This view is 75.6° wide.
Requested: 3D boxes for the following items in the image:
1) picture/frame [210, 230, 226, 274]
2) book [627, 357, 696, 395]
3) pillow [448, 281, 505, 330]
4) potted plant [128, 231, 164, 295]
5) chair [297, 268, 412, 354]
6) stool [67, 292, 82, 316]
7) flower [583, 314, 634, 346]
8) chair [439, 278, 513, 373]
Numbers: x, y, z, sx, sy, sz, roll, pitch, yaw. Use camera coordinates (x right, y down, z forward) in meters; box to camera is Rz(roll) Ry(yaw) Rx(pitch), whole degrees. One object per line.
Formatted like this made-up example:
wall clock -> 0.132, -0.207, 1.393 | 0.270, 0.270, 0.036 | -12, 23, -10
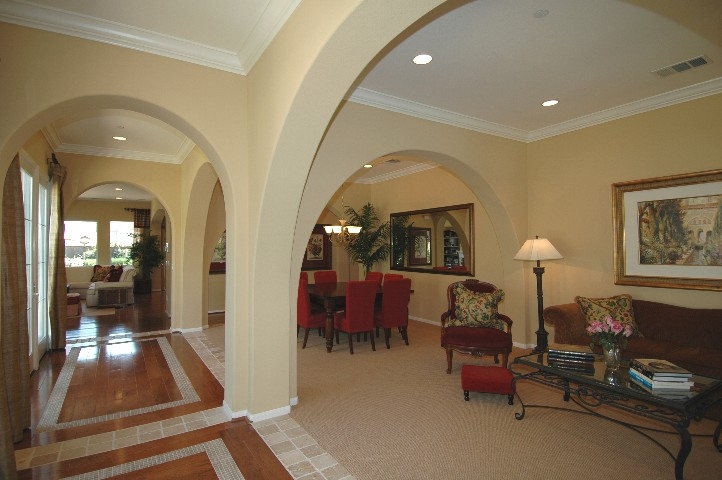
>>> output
picture/frame -> -3.345, 0.325, 10.868 | 0.293, 0.919, 0.822 | 0, -3, -12
book -> 3.093, 1.410, 4.858 | 0.349, 0.133, 0.391 | 1, -1, 17
pillow -> 1.680, 0.971, 6.871 | 0.599, 0.583, 0.248 | 2, -25, 17
potted plant -> -6.284, 0.670, 13.643 | 0.914, 1.734, 0.475 | 1, -3, -27
chair -> -0.036, 1.215, 7.743 | 1.687, 1.144, 1.088 | 0, -3, 3
stool -> -6.181, 1.373, 10.030 | 0.265, 0.469, 0.755 | 1, -3, -30
flower -> 2.805, 1.017, 5.372 | 0.416, 0.302, 0.431 | 1, -6, 0
chair -> 1.665, 1.223, 6.778 | 0.957, 1.266, 0.887 | -1, -3, 13
